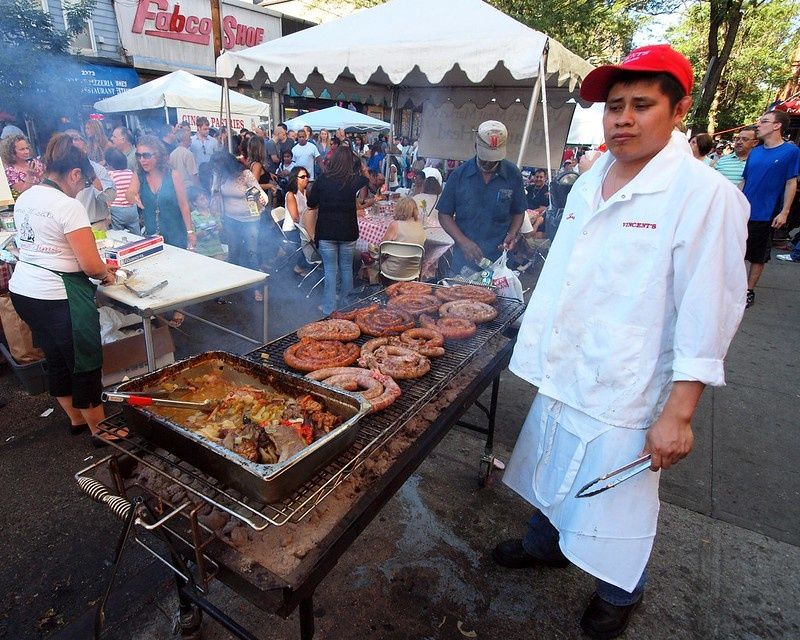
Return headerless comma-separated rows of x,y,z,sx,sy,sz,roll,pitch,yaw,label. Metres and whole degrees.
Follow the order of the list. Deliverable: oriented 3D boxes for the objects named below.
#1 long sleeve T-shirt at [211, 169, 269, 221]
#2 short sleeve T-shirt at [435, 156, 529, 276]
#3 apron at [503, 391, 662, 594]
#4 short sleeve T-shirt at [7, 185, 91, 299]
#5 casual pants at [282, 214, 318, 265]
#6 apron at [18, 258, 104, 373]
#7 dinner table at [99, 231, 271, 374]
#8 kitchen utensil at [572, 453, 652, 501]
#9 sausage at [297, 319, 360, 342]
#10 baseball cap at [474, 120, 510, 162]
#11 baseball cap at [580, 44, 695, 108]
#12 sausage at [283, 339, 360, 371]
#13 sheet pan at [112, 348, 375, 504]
-2.315,-1.679,7.334,0.739,0.812,0.461,-4,-5,-13,long sleeve T-shirt
0.880,-1.141,5.852,0.904,1.373,0.456,7,38,11,short sleeve T-shirt
1.071,1.035,3.110,0.484,0.992,1.014,-16,29,-29,apron
-2.661,-0.601,4.039,0.738,0.824,0.408,13,11,13,short sleeve T-shirt
-1.429,-1.170,7.515,0.428,0.606,0.357,-24,49,-26,casual pants
-2.589,-0.050,4.194,0.345,0.904,0.625,-10,8,-35,apron
-1.963,-0.348,4.712,1.577,0.801,1.016,24,33,31,dinner table
1.157,0.847,2.879,0.511,0.039,0.087,-32,46,13,kitchen utensil
-0.461,0.069,3.445,0.197,0.066,0.216,4,11,9,sausage
0.890,-1.824,5.289,0.321,0.256,0.479,8,49,7,baseball cap
1.173,-1.220,2.735,0.488,0.257,0.319,2,26,9,baseball cap
-0.488,0.204,3.169,0.240,0.070,0.239,3,18,1,sausage
-0.772,0.490,2.639,1.099,0.335,0.622,13,26,23,sheet pan
